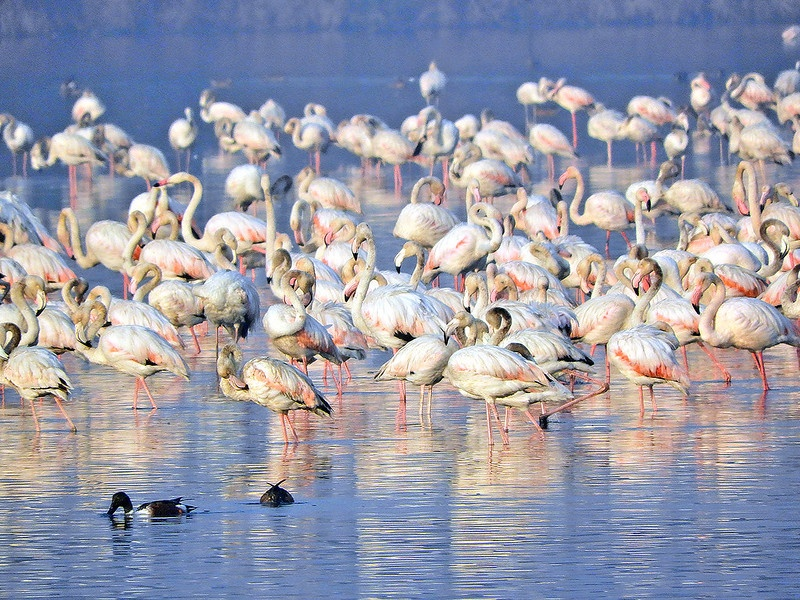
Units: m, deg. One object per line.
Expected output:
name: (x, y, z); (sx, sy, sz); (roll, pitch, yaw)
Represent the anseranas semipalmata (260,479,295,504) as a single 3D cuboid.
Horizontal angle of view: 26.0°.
anseranas semipalmata: (-1.172, 1.835, 16.510); (0.180, 0.128, 0.275); (0, 40, -3)
